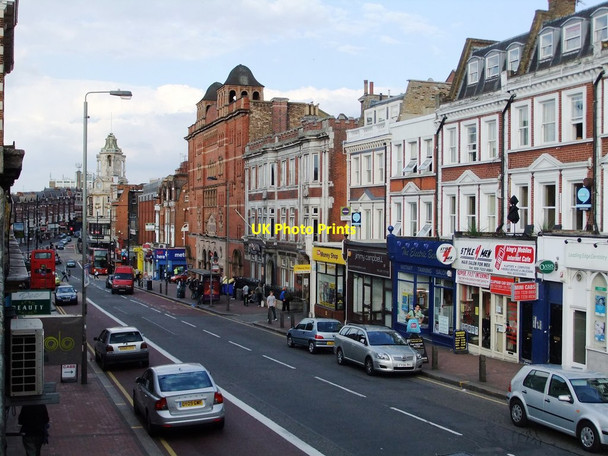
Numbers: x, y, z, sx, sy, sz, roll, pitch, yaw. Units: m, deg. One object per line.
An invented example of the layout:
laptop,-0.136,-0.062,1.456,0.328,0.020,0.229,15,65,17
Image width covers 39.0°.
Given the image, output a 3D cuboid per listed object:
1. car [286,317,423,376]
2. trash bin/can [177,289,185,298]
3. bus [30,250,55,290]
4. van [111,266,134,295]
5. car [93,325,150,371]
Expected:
car,3.046,5.115,36.091,1.864,2.113,4.011,-1,0,-30
trash bin/can,-10.272,5.620,72.924,0.820,0.855,0.615,7,-6,-31
bus,-20.587,3.374,67.462,1.937,3.016,5.593,0,11,-16
van,-17.018,4.902,80.552,1.521,1.775,3.295,0,-3,-11
car,-8.124,5.121,37.784,1.957,1.687,3.728,-2,3,-26
